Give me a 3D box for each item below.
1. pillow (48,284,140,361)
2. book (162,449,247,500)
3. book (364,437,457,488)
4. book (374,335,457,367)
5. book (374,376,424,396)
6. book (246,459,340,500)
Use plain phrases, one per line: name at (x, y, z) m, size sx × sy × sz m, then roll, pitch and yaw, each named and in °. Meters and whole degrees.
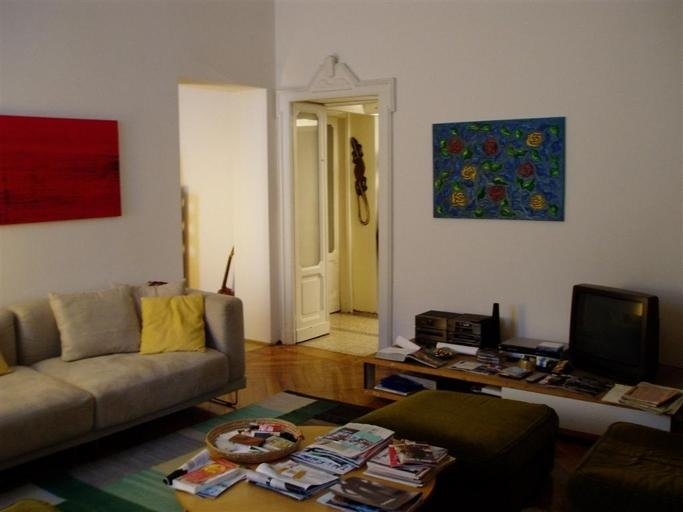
pillow at (-1.953, 0.528, 4.200) m, size 0.324 × 0.546 × 0.694 m, roll 12°, pitch 11°, yaw 42°
book at (-0.652, 1.057, 2.534) m, size 0.234 × 0.074 × 0.232 m, roll 7°, pitch 13°, yaw 24°
book at (0.327, 1.030, 2.600) m, size 0.295 × 0.067 × 0.295 m, roll 4°, pitch 12°, yaw 31°
book at (0.679, 0.844, 4.594) m, size 0.446 × 0.145 × 0.345 m, roll 1°, pitch 1°, yaw 36°
book at (0.489, 1.089, 4.345) m, size 0.263 × 0.080 × 0.267 m, roll 2°, pitch -2°, yaw 42°
book at (-0.234, 1.056, 2.478) m, size 0.203 × 0.033 × 0.198 m, roll 4°, pitch 5°, yaw 38°
